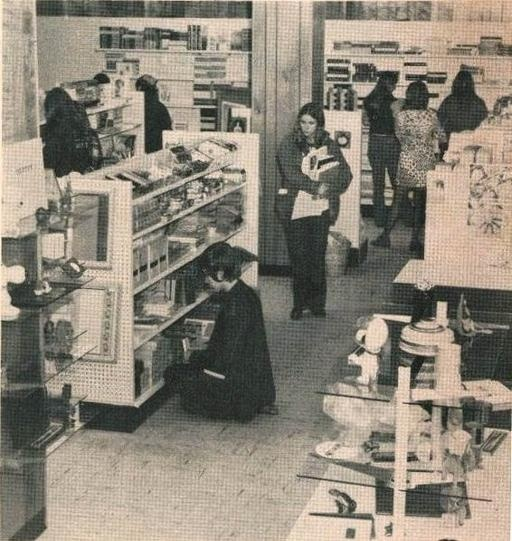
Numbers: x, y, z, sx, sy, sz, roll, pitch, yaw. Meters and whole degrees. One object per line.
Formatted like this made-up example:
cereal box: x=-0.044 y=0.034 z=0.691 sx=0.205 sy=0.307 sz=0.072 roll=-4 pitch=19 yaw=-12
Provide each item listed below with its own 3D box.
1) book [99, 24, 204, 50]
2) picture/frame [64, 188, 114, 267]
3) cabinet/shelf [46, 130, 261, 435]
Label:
book: x=-0.405 y=-0.921 z=2.803 sx=0.409 sy=0.093 sz=0.063 roll=-2 pitch=15 yaw=-3
picture/frame: x=-0.678 y=-0.174 z=2.882 sx=0.152 sy=0.270 sz=0.056 roll=2 pitch=14 yaw=12
cabinet/shelf: x=-0.418 y=-0.022 z=3.231 sx=0.436 sy=1.079 sz=1.209 roll=6 pitch=14 yaw=23
